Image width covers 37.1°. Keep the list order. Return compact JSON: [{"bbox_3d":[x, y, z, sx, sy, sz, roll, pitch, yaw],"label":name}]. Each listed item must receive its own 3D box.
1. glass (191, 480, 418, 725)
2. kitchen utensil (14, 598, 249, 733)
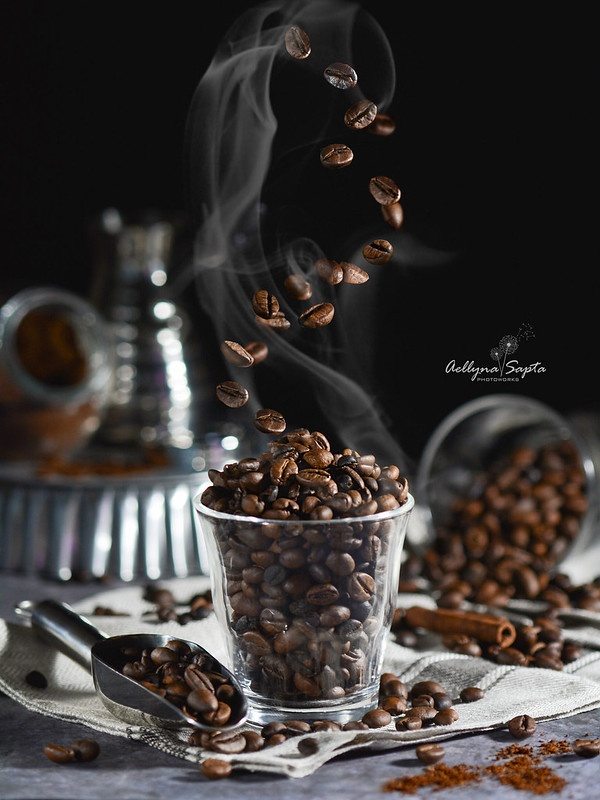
[{"bbox_3d":[-0.020,0.218,0.934,0.261,0.245,0.216,0,79,15],"label":"glass"},{"bbox_3d":[-0.192,0.232,0.958,0.084,0.058,0.363,-4,13,-39],"label":"kitchen utensil"}]
